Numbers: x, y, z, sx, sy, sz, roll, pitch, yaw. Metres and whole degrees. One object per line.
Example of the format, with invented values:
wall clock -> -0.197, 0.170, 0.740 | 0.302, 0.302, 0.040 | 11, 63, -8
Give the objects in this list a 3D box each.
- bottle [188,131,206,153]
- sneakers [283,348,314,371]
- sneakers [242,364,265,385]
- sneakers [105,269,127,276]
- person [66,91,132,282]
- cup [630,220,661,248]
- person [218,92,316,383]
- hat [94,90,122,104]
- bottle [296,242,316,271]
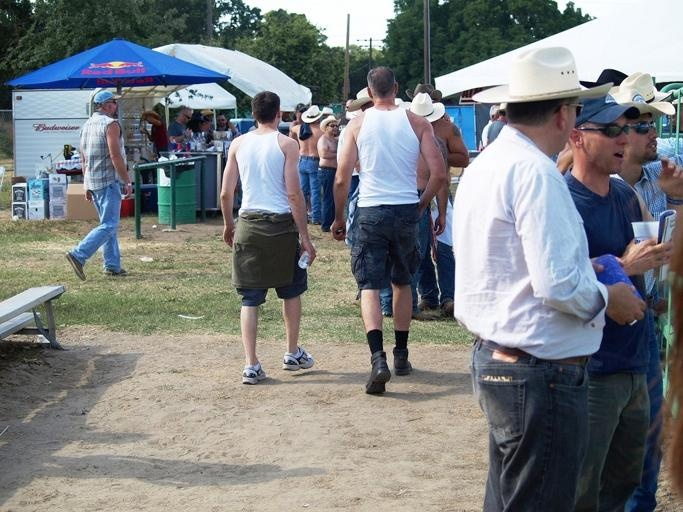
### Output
bottle -> -2.651, -2.073, 17.406 | 0.204, 0.184, 0.548 | 18, 13, -15
sneakers -> -0.322, 0.865, 7.913 | 0.121, 0.160, 0.325 | 3, 5, 33
sneakers -> -0.700, 0.959, 7.598 | 0.092, 0.112, 0.241 | 1, 6, 11
sneakers -> -2.717, 0.196, 11.472 | 0.244, 0.104, 0.089 | 0, 7, -21
person -> -2.856, -0.811, 11.186 | 0.709, 2.205, 0.989 | -3, 13, -13
cup -> 1.676, -0.138, 5.182 | 0.116, 0.088, 0.103 | 0, -3, -12
person -> -0.585, -0.151, 7.648 | 0.734, 2.290, 0.622 | -2, 13, -8
hat -> -2.784, -1.847, 11.281 | 0.276, 0.136, 0.185 | -18, 22, -31
bottle -> -0.278, 0.014, 7.518 | 0.099, 0.200, 0.048 | 6, -3, 9
